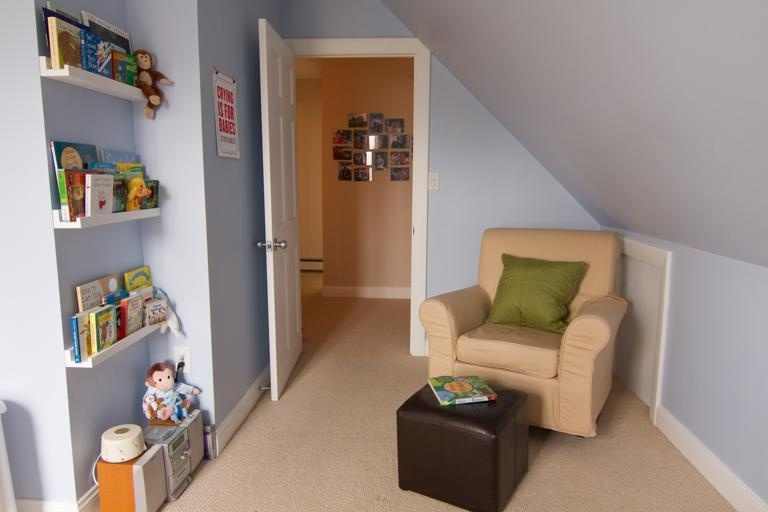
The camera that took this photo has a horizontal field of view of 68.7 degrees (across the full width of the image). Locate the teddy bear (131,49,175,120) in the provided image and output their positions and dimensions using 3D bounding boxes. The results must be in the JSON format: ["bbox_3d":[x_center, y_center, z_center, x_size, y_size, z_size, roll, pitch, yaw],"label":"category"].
[{"bbox_3d":[-1.140,-0.864,2.733,0.183,0.255,0.212,-10,36,-25],"label":"teddy bear"}]

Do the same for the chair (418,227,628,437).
[{"bbox_3d":[0.898,0.388,3.437,1.065,1.033,0.872,4,10,33],"label":"chair"}]

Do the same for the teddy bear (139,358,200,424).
[{"bbox_3d":[-1.106,0.697,2.879,0.272,0.289,0.188,1,11,4],"label":"teddy bear"}]
